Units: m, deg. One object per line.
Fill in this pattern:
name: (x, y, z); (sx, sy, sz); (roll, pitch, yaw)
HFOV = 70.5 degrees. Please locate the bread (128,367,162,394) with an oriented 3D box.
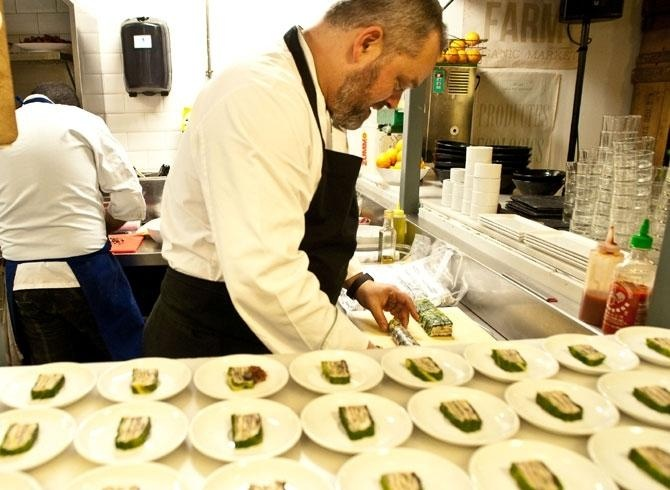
bread: (-0.415, 0.288, 1.024); (0.039, 0.016, 0.053); (2, 23, -15)

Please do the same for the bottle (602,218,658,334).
bottle: (0.822, 0.091, 1.296); (0.099, 0.332, 0.078); (13, 21, 29)

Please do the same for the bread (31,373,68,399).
bread: (-0.610, 0.288, 0.992); (0.039, 0.015, 0.051); (-2, 22, -10)

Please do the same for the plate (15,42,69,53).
plate: (-2.397, -1.624, 3.898); (0.390, 0.089, 0.118); (-12, 23, -37)

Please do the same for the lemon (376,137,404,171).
lemon: (0.390, -0.613, 3.277); (0.104, 0.147, 0.282); (9, -21, 14)

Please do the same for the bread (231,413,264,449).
bread: (-0.165, 0.346, 0.895); (0.059, 0.034, 0.062); (-3, 18, -13)

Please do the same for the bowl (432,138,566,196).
bowl: (0.888, -0.420, 2.595); (0.632, 0.202, 0.409); (3, 6, -2)

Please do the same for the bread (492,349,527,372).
bread: (0.423, 0.275, 1.133); (0.051, 0.013, 0.053); (0, 19, -22)

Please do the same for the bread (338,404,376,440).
bread: (0.048, 0.343, 0.929); (0.055, 0.023, 0.066); (-13, 27, -10)

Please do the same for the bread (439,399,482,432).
bread: (0.257, 0.343, 0.955); (0.059, 0.020, 0.094); (-5, 15, -13)

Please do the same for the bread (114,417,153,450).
bread: (-0.379, 0.343, 0.878); (0.048, 0.015, 0.047); (6, 29, 2)
